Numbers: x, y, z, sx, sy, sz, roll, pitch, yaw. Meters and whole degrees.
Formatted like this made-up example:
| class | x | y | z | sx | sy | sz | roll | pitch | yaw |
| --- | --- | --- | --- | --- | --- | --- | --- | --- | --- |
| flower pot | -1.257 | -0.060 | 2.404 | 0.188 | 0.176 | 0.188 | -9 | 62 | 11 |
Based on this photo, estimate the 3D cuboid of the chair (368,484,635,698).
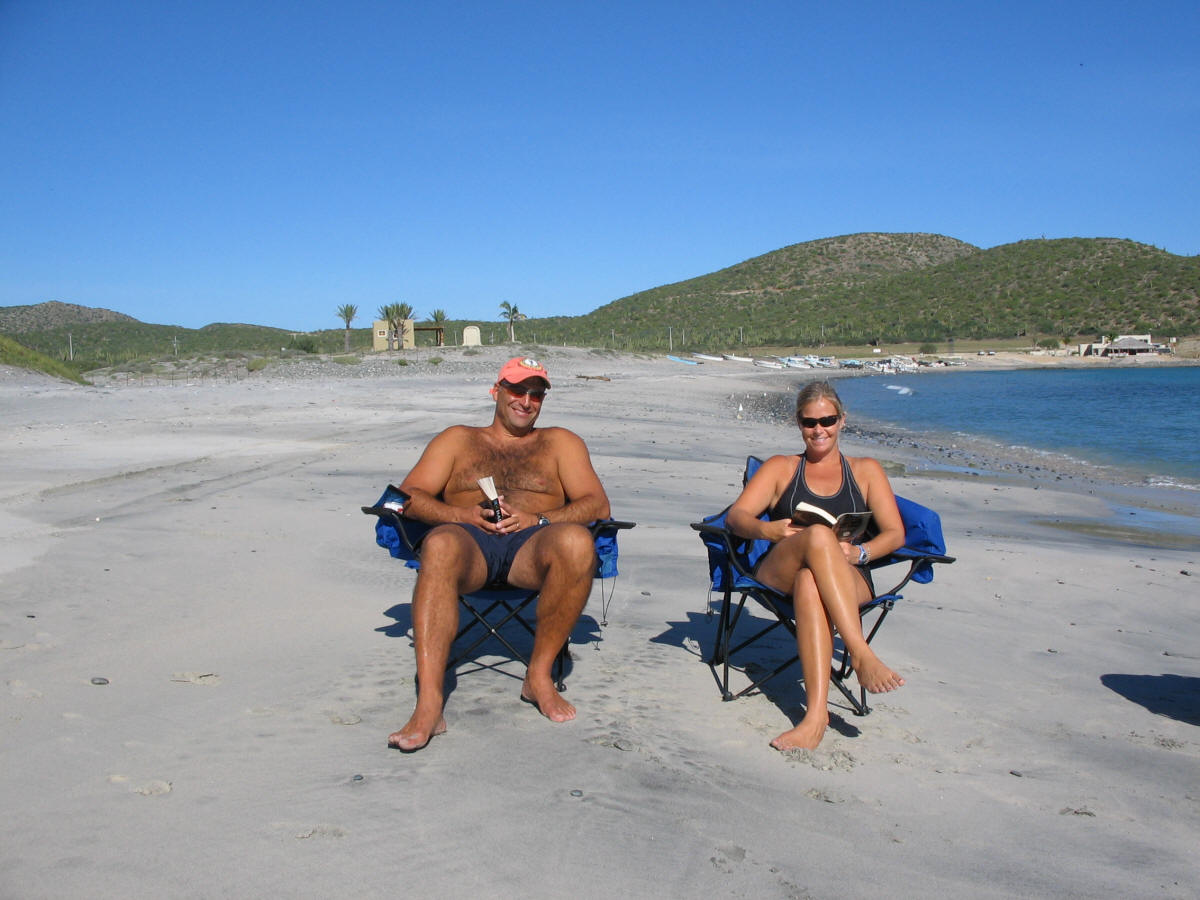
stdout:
| class | x | y | z | sx | sy | sz | roll | pitch | yaw |
| --- | --- | --- | --- | --- | --- | --- | --- | --- | --- |
| chair | -0.471 | 0.611 | 4.329 | 1.090 | 0.783 | 0.733 | 1 | -7 | -13 |

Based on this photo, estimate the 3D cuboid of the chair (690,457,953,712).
| class | x | y | z | sx | sy | sz | roll | pitch | yaw |
| --- | --- | --- | --- | --- | --- | --- | --- | --- | --- |
| chair | 0.949 | 0.606 | 4.402 | 1.293 | 0.980 | 1.046 | 7 | 2 | -6 |

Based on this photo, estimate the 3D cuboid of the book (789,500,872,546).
| class | x | y | z | sx | sy | sz | roll | pitch | yaw |
| --- | --- | --- | --- | --- | --- | --- | --- | --- | --- |
| book | 1.076 | 0.344 | 4.248 | 0.252 | 0.086 | 0.237 | 4 | -12 | 20 |

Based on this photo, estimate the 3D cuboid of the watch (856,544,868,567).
| class | x | y | z | sx | sy | sz | roll | pitch | yaw |
| --- | --- | --- | --- | --- | --- | --- | --- | --- | --- |
| watch | 1.164 | 0.473 | 4.122 | 0.063 | 0.074 | 0.088 | 12 | -27 | 0 |

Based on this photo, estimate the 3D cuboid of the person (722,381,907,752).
| class | x | y | z | sx | sy | sz | roll | pitch | yaw |
| --- | --- | --- | --- | --- | --- | --- | --- | --- | --- |
| person | 0.997 | 0.423 | 4.030 | 0.840 | 1.396 | 1.152 | 5 | 9 | 1 |

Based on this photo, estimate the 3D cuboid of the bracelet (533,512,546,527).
| class | x | y | z | sx | sy | sz | roll | pitch | yaw |
| --- | --- | --- | --- | --- | --- | --- | --- | --- | --- |
| bracelet | -0.274 | 0.313 | 4.112 | 0.062 | 0.043 | 0.091 | 1 | -3 | -11 |
